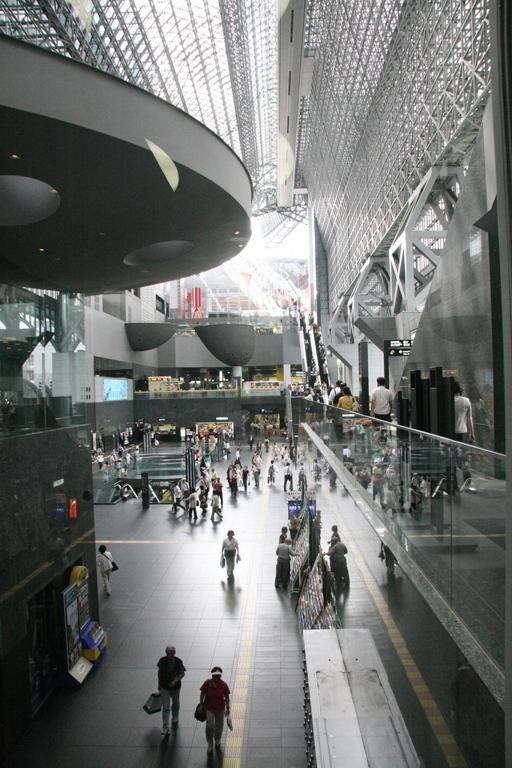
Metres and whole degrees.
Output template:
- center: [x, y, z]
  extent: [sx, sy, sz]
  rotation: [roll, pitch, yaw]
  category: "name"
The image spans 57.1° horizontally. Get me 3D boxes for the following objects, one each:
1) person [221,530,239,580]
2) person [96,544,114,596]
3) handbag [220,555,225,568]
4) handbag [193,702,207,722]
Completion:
- center: [-0.665, 4.325, 12.065]
  extent: [0.441, 1.313, 0.343]
  rotation: [-5, 17, -19]
  category: "person"
- center: [-3.773, 4.496, 11.834]
  extent: [0.373, 1.211, 0.906]
  rotation: [-1, -1, -19]
  category: "person"
- center: [-0.849, 4.363, 11.925]
  extent: [0.099, 0.209, 0.372]
  rotation: [-2, -1, -5]
  category: "handbag"
- center: [-0.704, 4.145, 6.015]
  extent: [0.110, 0.274, 0.127]
  rotation: [-2, -1, 8]
  category: "handbag"
